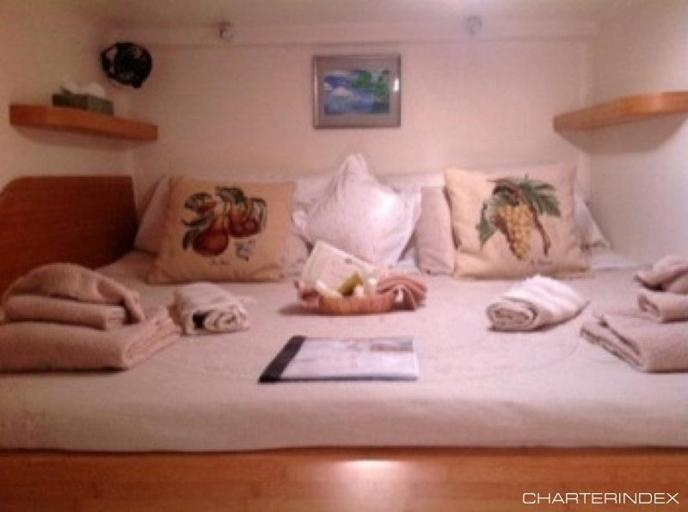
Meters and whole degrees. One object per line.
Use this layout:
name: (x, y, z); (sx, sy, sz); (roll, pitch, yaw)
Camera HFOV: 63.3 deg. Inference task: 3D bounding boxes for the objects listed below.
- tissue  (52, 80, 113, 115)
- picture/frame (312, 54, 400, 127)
tissue : (-1.025, -0.616, 2.192); (0.111, 0.120, 0.283); (2, 14, 2)
picture/frame: (0.052, -0.757, 2.520); (0.302, 0.237, 0.013); (-1, 8, -5)
